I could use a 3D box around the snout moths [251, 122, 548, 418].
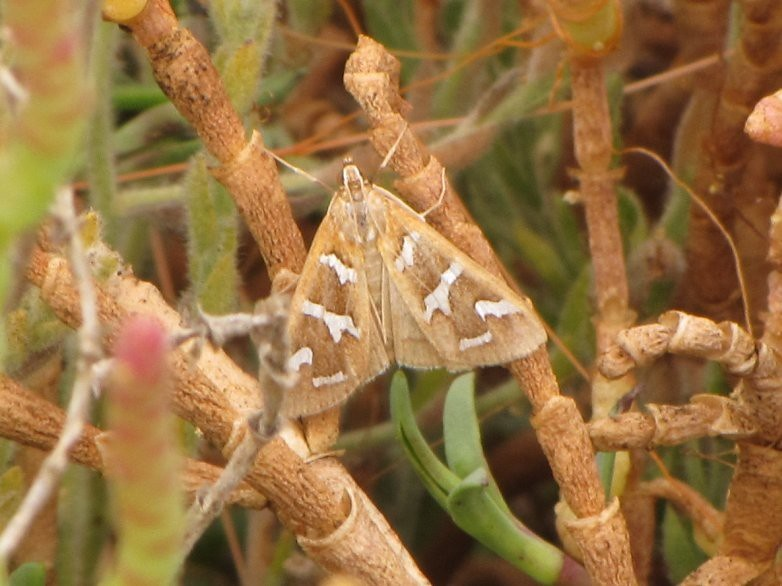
[{"bbox_3d":[-0.003,-0.014,0.741,0.179,0.147,0.053,-13,-4,9],"label":"snout moths"}]
